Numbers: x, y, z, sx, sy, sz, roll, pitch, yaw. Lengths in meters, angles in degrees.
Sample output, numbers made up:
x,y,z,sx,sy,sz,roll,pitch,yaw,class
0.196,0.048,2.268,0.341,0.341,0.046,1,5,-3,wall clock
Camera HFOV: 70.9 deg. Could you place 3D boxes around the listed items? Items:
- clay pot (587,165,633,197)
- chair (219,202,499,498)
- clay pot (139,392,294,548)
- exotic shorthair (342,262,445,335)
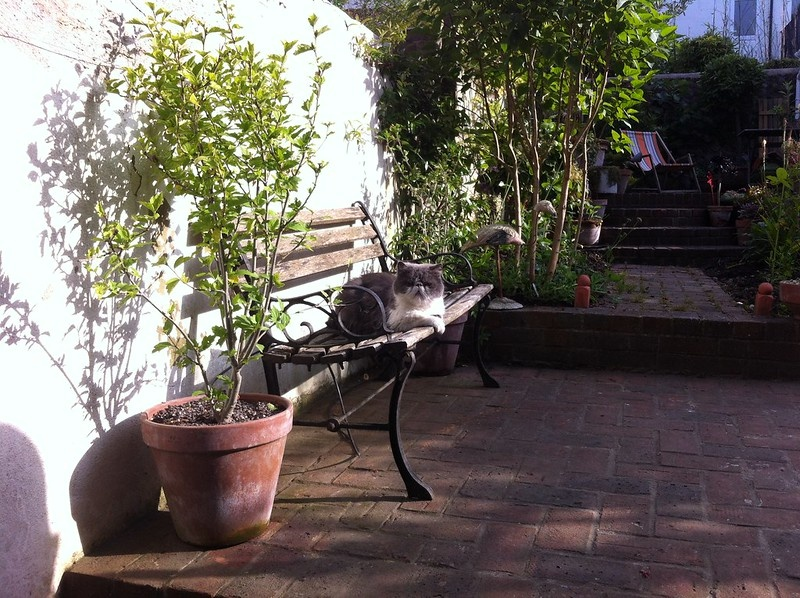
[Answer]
x,y,z,sx,sy,sz,roll,pitch,yaw,class
3.308,-1.869,9.119,0.757,0.372,0.759,-1,5,0,clay pot
-0.233,0.333,3.234,0.849,1.003,1.635,4,10,21,chair
-0.788,0.765,2.539,0.640,0.506,0.648,-2,-4,0,clay pot
-0.025,0.001,3.317,0.486,0.254,0.501,8,12,27,exotic shorthair
